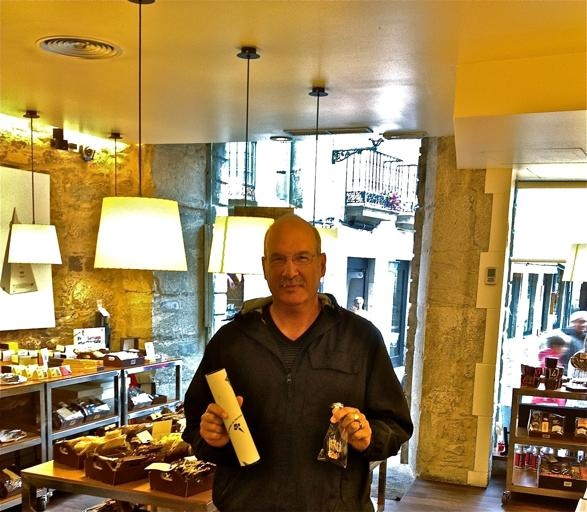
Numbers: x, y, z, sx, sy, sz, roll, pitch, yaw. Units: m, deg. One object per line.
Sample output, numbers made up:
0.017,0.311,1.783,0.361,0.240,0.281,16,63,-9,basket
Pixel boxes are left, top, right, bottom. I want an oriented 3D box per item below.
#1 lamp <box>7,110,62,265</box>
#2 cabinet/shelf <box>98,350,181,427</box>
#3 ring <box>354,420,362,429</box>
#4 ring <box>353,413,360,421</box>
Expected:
-1.963,-0.497,4.341,0.374,1.165,0.906,1,2,-23,lamp
-1.289,1.091,4.656,0.274,0.584,0.675,-2,-4,23,cabinet/shelf
0.187,0.495,1.662,0.021,0.024,0.011,-5,-9,-1,ring
0.183,0.474,1.665,0.016,0.019,0.009,-3,-4,-8,ring
